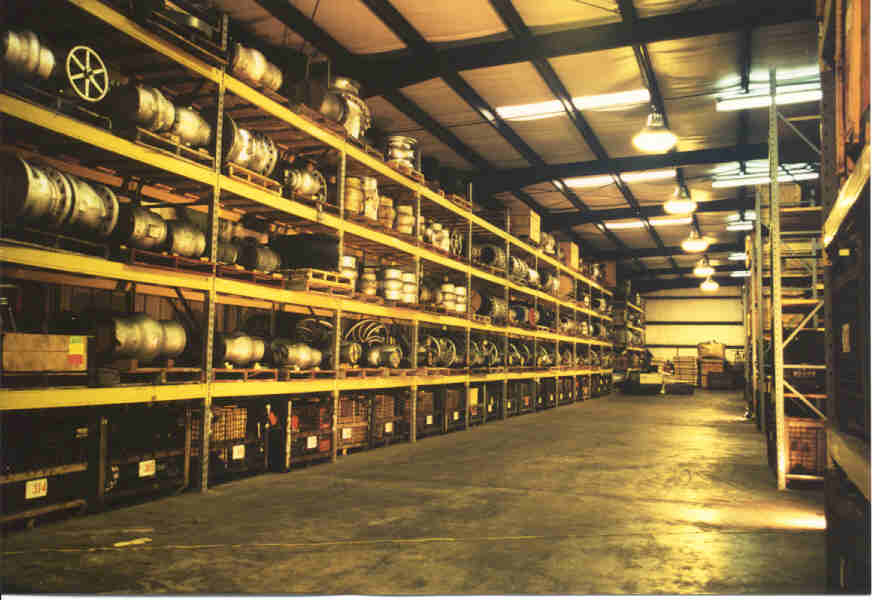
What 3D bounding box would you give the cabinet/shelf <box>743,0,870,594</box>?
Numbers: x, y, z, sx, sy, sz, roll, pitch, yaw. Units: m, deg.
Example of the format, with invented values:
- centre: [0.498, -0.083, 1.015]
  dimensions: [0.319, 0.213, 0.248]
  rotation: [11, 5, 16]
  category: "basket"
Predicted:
- centre: [5.334, -0.224, 10.585]
  dimensions: [1.164, 4.555, 8.015]
  rotation: [0, -2, 22]
  category: "cabinet/shelf"
